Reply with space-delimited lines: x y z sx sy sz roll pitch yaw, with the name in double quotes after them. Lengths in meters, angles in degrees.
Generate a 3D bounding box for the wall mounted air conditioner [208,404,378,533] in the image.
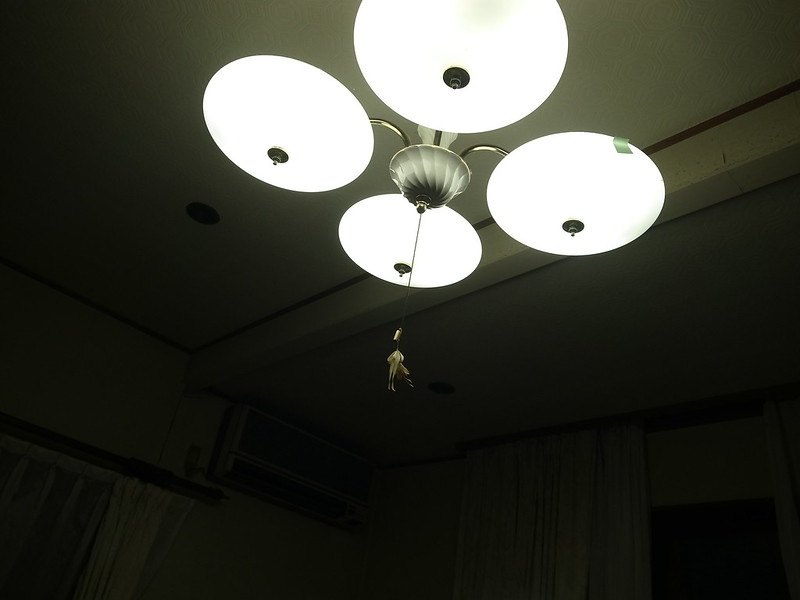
-0.758 1.269 4.730 0.269 0.495 1.273 -20 -43 37 "wall mounted air conditioner"
